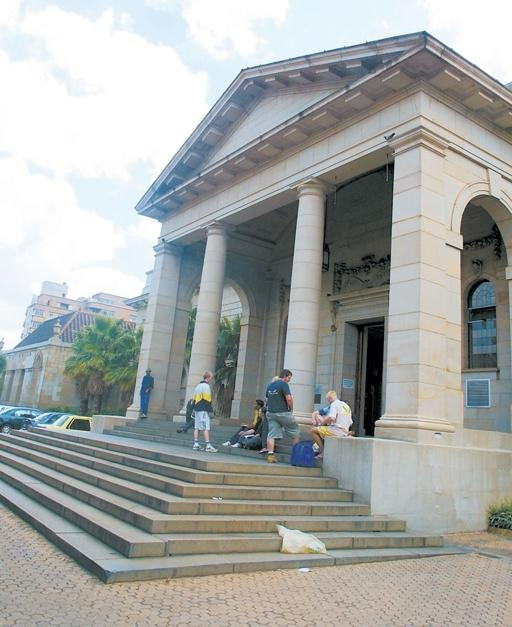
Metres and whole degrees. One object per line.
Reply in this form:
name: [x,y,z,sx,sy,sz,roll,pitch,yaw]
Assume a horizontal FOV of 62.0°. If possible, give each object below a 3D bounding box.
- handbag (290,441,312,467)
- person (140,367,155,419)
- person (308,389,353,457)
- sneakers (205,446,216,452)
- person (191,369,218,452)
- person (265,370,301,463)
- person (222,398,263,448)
handbag: [0.927,2.875,8.691,0.482,0.429,0.203,-9,-45,25]
person: [-4.865,3.500,18.733,0.521,2.153,0.828,10,-13,-11]
person: [1.607,2.369,9.201,0.786,1.361,1.438,7,-12,0]
sneakers: [-1.131,3.382,10.608,0.330,0.128,0.130,6,-6,-22]
person: [-1.311,2.497,10.984,0.717,1.987,1.093,9,-13,-5]
person: [0.586,2.198,9.366,0.890,1.905,0.647,-4,-18,16]
person: [-0.216,2.857,10.923,1.165,1.320,0.605,-4,1,8]
